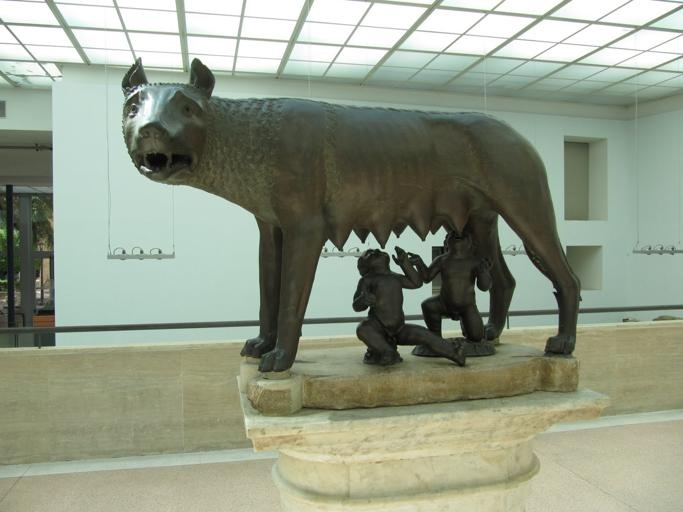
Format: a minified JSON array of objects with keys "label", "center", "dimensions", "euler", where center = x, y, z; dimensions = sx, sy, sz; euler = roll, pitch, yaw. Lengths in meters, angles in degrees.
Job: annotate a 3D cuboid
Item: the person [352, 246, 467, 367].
[{"label":"person","center":[0.356,0.269,3.539],"dimensions":[0.705,0.746,0.430],"euler":[-1,-3,31]}]
